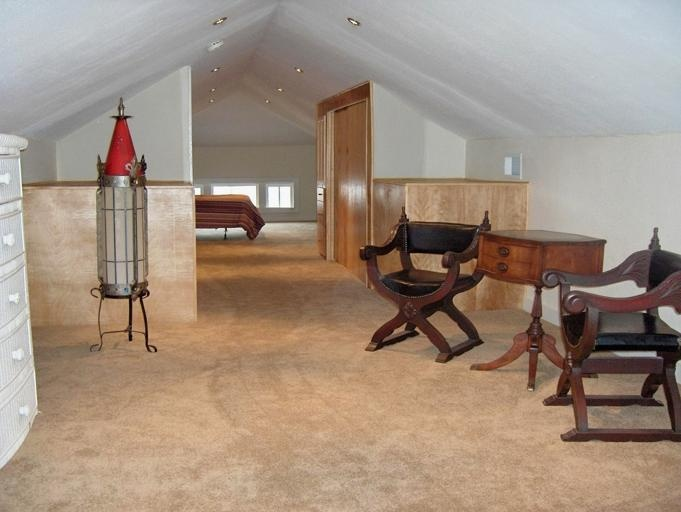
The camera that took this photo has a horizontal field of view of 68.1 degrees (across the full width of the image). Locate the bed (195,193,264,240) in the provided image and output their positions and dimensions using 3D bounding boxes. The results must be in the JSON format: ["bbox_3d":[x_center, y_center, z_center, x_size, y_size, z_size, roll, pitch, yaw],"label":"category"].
[{"bbox_3d":[-1.901,-0.709,8.596,0.864,0.426,0.856,1,6,-2],"label":"bed"}]

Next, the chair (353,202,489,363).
[{"bbox_3d":[0.563,0.164,3.509,0.791,0.938,0.629,5,12,26],"label":"chair"}]
